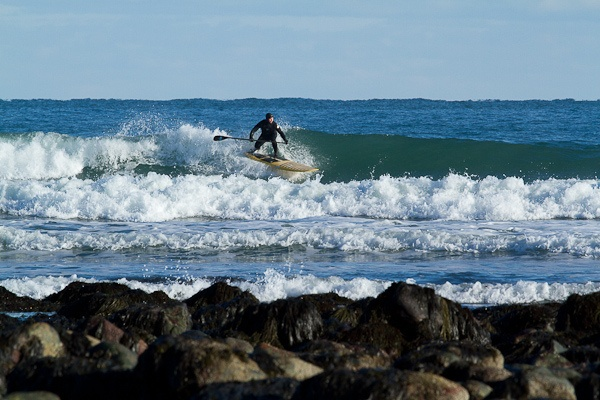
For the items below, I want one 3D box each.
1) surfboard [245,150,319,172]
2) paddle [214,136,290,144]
[{"bbox_3d":[-0.717,-1.444,47.660,0.938,0.509,3.860,-10,20,-40],"label":"surfboard"},{"bbox_3d":[-2.004,-2.474,49.365,2.598,0.239,0.199,7,22,19],"label":"paddle"}]
